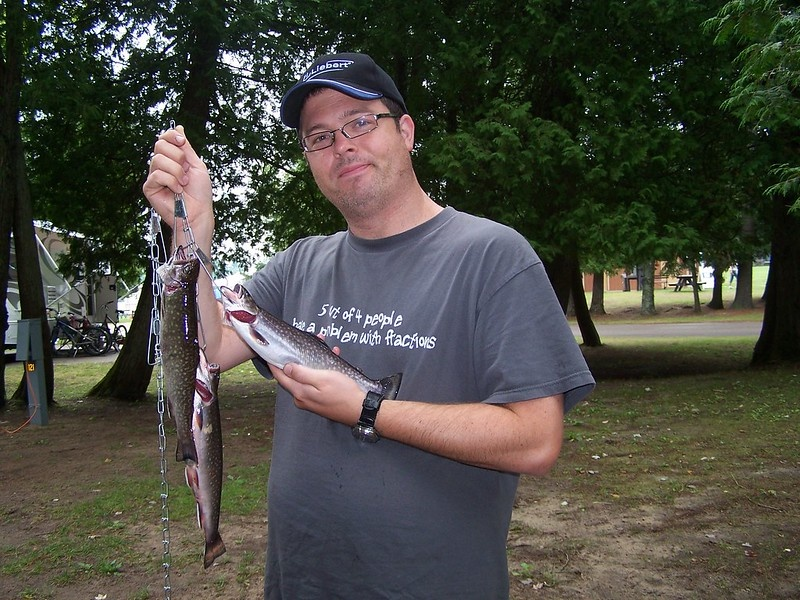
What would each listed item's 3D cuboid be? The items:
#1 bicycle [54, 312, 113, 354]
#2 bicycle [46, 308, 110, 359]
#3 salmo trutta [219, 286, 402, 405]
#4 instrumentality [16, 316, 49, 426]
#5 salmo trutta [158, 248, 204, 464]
[{"bbox_3d":[-11.534,1.139,21.979,2.435,1.578,1.343,-1,3,0],"label":"bicycle"},{"bbox_3d":[-11.504,1.173,21.906,2.323,1.576,1.266,-1,9,5],"label":"bicycle"},{"bbox_3d":[-0.463,0.224,3.449,0.981,0.314,0.211,32,2,-4],"label":"salmo trutta"},{"bbox_3d":[-6.901,1.348,11.639,0.464,1.685,0.770,-1,1,-33],"label":"instrumentality"},{"bbox_3d":[-1.152,0.316,3.259,0.200,0.718,0.163,-1,1,-23],"label":"salmo trutta"}]
